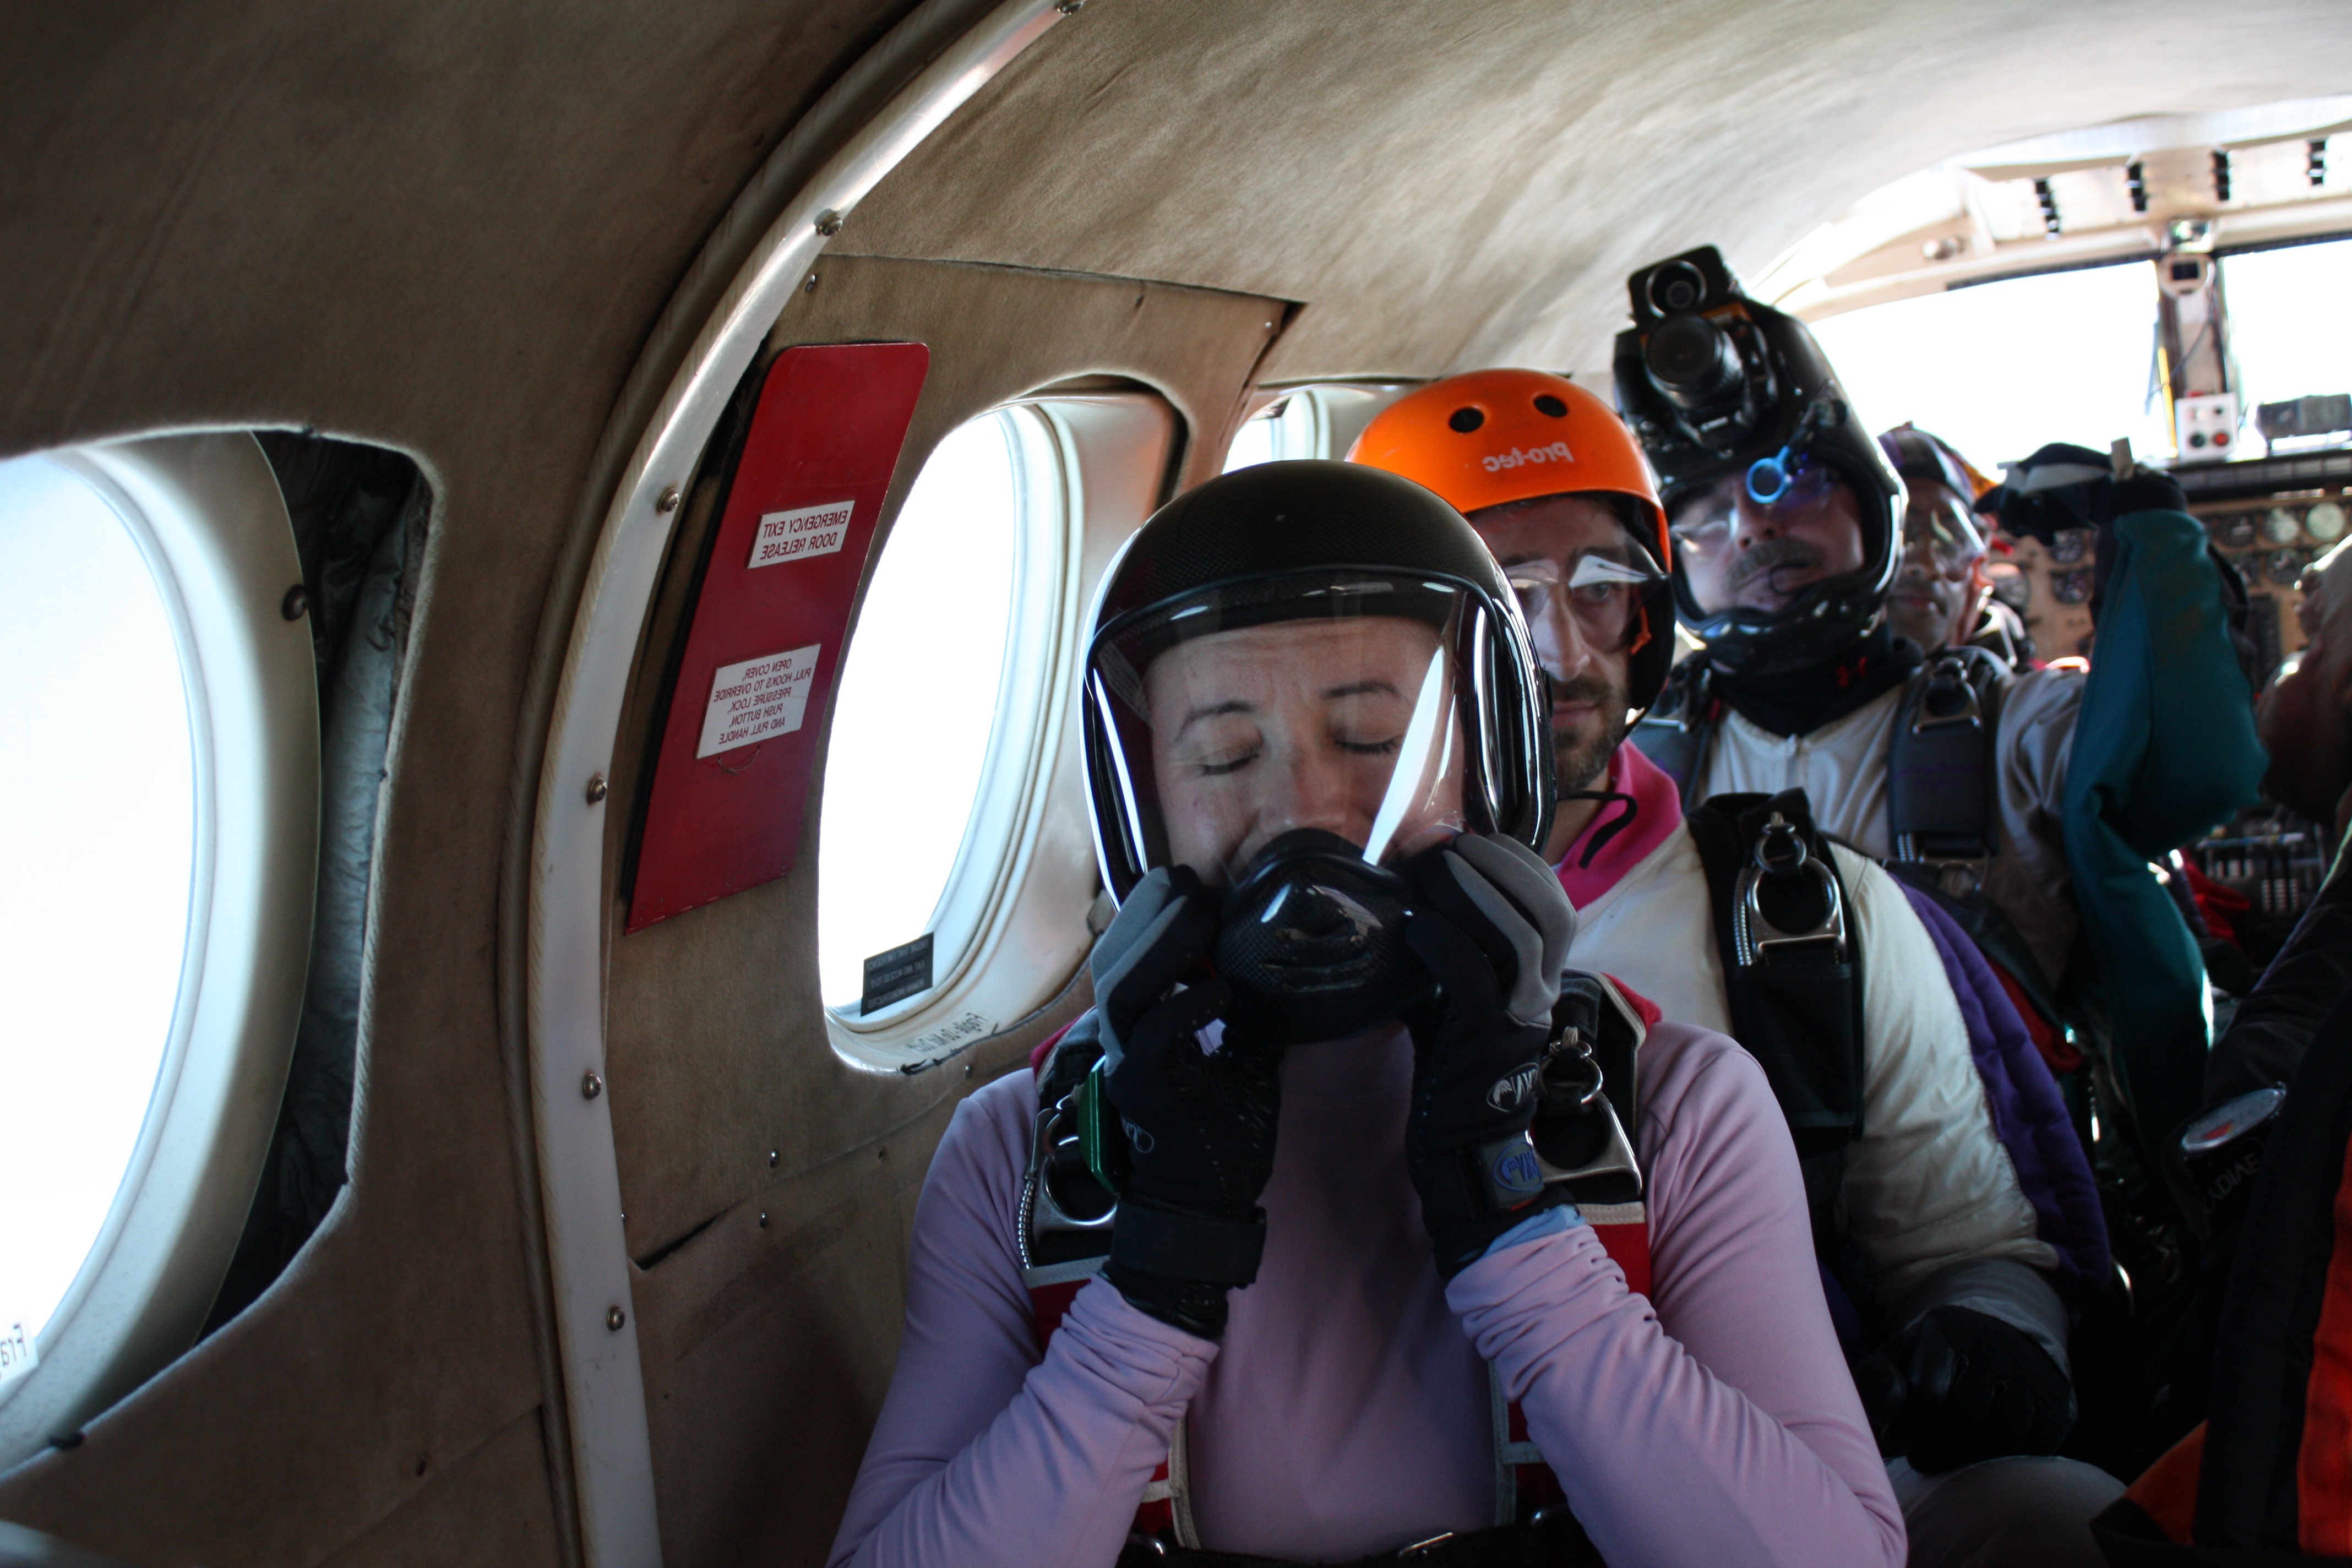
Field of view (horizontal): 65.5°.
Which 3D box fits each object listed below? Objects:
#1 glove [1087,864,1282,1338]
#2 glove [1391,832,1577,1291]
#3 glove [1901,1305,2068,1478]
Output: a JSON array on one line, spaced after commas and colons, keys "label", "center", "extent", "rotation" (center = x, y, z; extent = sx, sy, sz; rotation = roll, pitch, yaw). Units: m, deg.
[{"label": "glove", "center": [0.008, 0.450, 2.655], "extent": [0.200, 0.596, 0.398], "rotation": [2, 4, 19]}, {"label": "glove", "center": [0.445, 0.387, 2.641], "extent": [0.239, 0.627, 0.138], "rotation": [0, -1, 12]}, {"label": "glove", "center": [1.359, 0.992, 3.159], "extent": [0.216, 0.273, 0.293], "rotation": [24, 6, 14]}]
